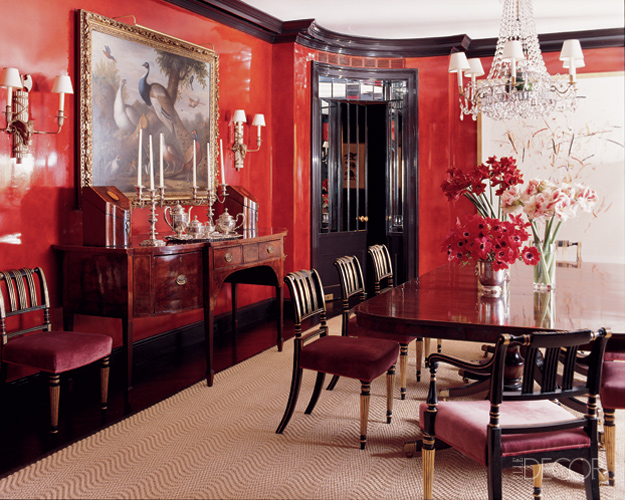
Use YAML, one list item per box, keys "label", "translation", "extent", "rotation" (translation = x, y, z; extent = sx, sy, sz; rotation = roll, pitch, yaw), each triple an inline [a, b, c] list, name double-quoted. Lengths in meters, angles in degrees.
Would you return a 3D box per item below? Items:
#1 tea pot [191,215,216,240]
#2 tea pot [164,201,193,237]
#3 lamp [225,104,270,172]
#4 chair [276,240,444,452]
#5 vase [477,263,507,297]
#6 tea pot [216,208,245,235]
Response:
- label: "tea pot"
  translation: [-0.880, -0.177, 4.335]
  extent: [0.269, 0.236, 0.153]
  rotation: [3, -2, -43]
- label: "tea pot"
  translation: [-1.135, -0.268, 4.453]
  extent: [0.284, 0.313, 0.194]
  rotation: [5, 10, 26]
- label: "lamp"
  translation: [-0.638, -1.198, 5.711]
  extent: [0.266, 0.663, 0.650]
  rotation: [3, 8, 21]
- label: "chair"
  translation: [0.288, 0.578, 3.704]
  extent: [0.996, 1.389, 0.836]
  rotation: [2, 3, 28]
- label: "vase"
  translation: [1.047, 0.170, 3.110]
  extent: [0.183, 0.201, 0.172]
  rotation: [0, 2, 24]
- label: "tea pot"
  translation: [-0.711, -0.243, 4.703]
  extent: [0.257, 0.260, 0.184]
  rotation: [0, 2, -6]
